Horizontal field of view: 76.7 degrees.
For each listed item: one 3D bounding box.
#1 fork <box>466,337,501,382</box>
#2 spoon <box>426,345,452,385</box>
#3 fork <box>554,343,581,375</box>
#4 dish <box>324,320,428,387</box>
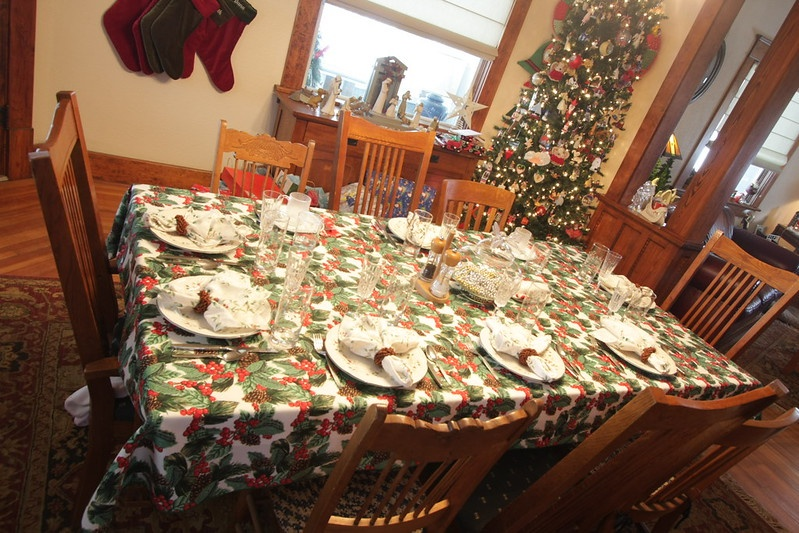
[{"bbox_3d":[0.309,0.340,2.001,0.048,0.041,0.279,-27,36,-7],"label":"fork"},{"bbox_3d":[0.139,0.371,1.869,0.045,0.026,0.186,6,40,-33],"label":"spoon"},{"bbox_3d":[0.697,0.387,2.095,0.181,0.043,0.047,38,35,0],"label":"fork"},{"bbox_3d":[-0.077,0.314,1.750,0.258,0.035,0.254,10,31,-8],"label":"dish"}]
